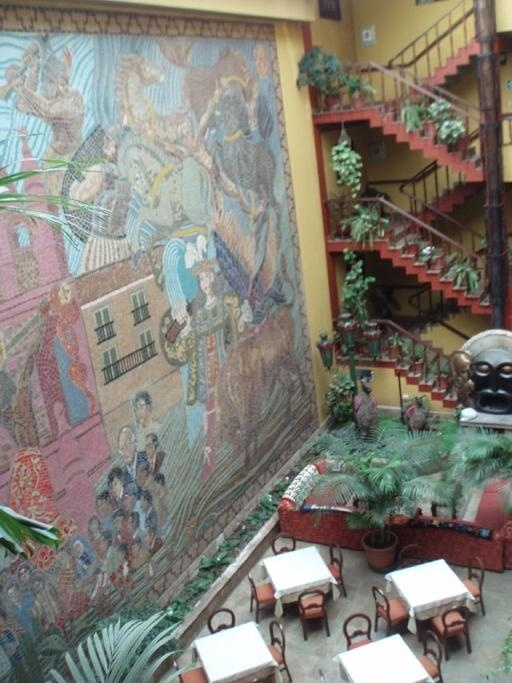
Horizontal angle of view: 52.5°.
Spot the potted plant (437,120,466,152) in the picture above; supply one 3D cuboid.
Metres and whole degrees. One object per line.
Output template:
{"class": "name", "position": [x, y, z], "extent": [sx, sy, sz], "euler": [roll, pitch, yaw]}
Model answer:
{"class": "potted plant", "position": [3.828, -4.152, 10.213], "extent": [0.402, 0.563, 0.520], "euler": [15, -15, -26]}

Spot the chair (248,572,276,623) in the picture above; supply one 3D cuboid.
{"class": "chair", "position": [0.117, 3.448, 6.977], "extent": [0.360, 0.614, 0.333], "euler": [-9, -6, -15]}

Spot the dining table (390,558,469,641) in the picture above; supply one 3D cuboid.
{"class": "dining table", "position": [2.129, 3.187, 6.374], "extent": [0.755, 0.316, 0.775], "euler": [-12, 35, -12]}

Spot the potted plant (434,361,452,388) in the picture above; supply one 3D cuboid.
{"class": "potted plant", "position": [4.036, 0.688, 11.261], "extent": [0.350, 0.577, 1.127], "euler": [-2, 17, 19]}

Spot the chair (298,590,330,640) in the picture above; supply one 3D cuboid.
{"class": "chair", "position": [0.730, 3.428, 6.654], "extent": [0.364, 0.766, 0.410], "euler": [-7, 15, 0]}

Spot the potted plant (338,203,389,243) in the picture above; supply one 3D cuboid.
{"class": "potted plant", "position": [2.326, -2.603, 11.197], "extent": [0.995, 0.847, 0.624], "euler": [-5, 15, 10]}

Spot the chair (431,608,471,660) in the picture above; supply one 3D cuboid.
{"class": "chair", "position": [2.298, 3.292, 6.032], "extent": [0.282, 0.621, 0.357], "euler": [-11, 5, 5]}

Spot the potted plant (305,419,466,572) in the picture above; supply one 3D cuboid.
{"class": "potted plant", "position": [1.900, 2.461, 7.700], "extent": [2.160, 2.012, 2.059], "euler": [0, 17, 24]}

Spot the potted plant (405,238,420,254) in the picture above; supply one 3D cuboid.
{"class": "potted plant", "position": [3.387, -2.127, 11.223], "extent": [0.265, 0.330, 0.738], "euler": [-2, 17, 19]}

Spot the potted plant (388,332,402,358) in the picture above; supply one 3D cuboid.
{"class": "potted plant", "position": [3.155, 0.055, 11.798], "extent": [0.281, 0.524, 0.384], "euler": [-2, 16, 17]}

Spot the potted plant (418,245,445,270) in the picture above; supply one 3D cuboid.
{"class": "potted plant", "position": [3.683, -1.813, 10.957], "extent": [0.500, 0.428, 0.269], "euler": [-1, 16, 23]}

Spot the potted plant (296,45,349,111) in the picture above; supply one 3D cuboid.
{"class": "potted plant", "position": [1.396, -5.638, 10.724], "extent": [0.966, 1.366, 1.127], "euler": [20, 39, 18]}

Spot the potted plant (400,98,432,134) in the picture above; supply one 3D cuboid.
{"class": "potted plant", "position": [3.232, -4.703, 10.623], "extent": [0.539, 0.741, 0.741], "euler": [-2, 16, 19]}
